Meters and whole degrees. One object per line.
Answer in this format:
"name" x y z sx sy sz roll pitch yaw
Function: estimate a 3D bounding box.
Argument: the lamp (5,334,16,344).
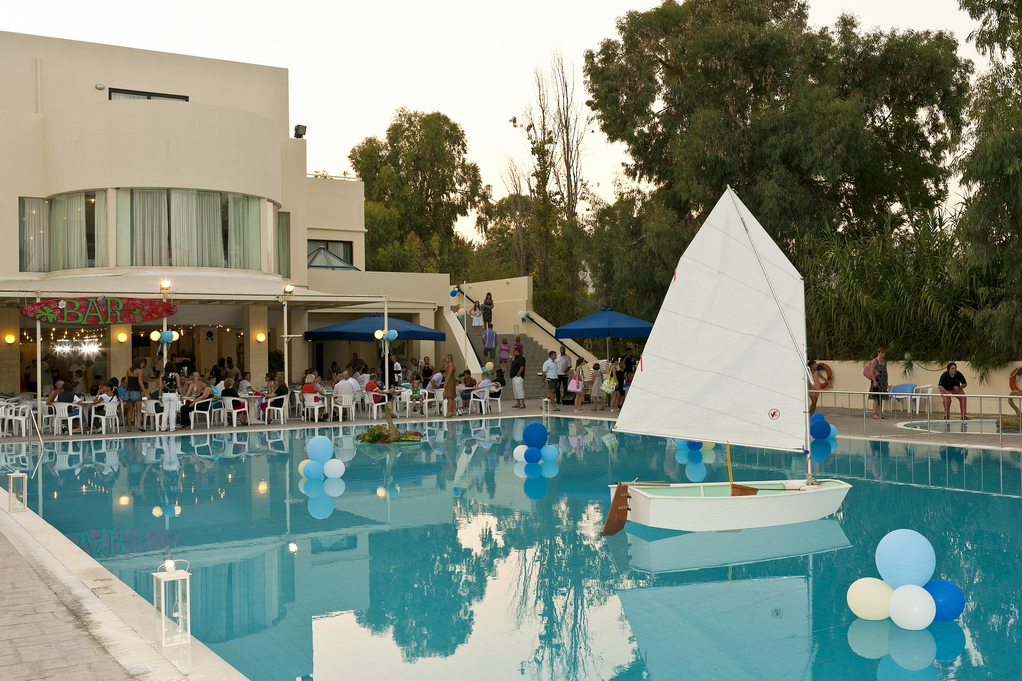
"lamp" -17.233 -0.074 30.823 0.348 0.378 0.119 -2 -1 -9

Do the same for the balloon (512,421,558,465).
"balloon" 0.617 2.463 21.426 0.892 0.885 0.956 1 -5 0

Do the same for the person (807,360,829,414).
"person" 9.613 1.429 27.979 0.547 1.823 0.408 -5 24 16

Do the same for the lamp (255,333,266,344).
"lamp" -9.319 -0.086 33.284 0.334 0.375 0.122 0 0 -33

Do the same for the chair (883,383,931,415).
"chair" 12.240 1.810 27.615 0.797 1.074 0.822 -5 -13 44

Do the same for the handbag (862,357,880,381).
"handbag" 11.152 0.914 27.709 0.351 0.689 0.477 19 13 -20

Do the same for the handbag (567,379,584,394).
"handbag" 2.342 1.646 32.334 0.535 0.588 0.228 2 -2 -2

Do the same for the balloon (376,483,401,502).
"balloon" -2.444 3.065 17.955 0.133 0.221 0.353 -18 -6 15

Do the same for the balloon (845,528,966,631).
"balloon" 5.478 3.392 12.339 1.242 1.421 0.605 -2 -29 5

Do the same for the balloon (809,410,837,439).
"balloon" 8.254 2.308 23.781 0.394 0.703 1.357 -3 -2 38
